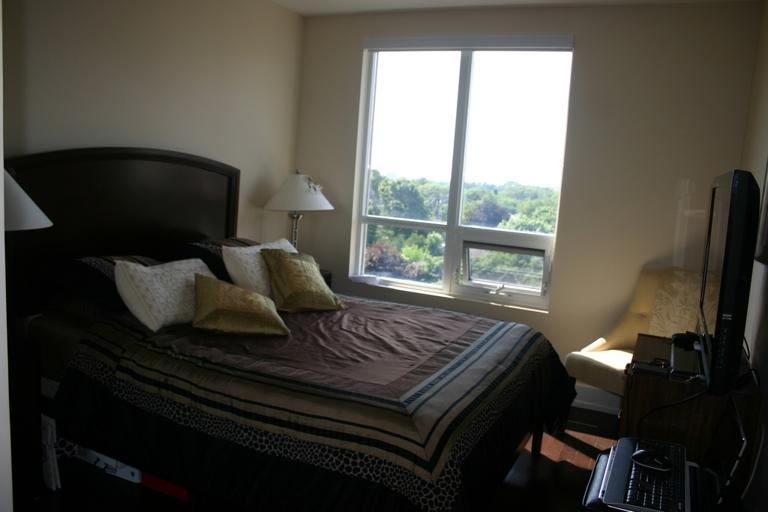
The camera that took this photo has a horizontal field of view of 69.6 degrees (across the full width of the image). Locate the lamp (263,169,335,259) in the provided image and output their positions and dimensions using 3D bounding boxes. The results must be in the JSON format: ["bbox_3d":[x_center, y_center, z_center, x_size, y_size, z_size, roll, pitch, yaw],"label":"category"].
[{"bbox_3d":[-0.763,-0.438,5.475,0.698,1.076,0.724,0,9,-4],"label":"lamp"}]

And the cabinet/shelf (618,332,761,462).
[{"bbox_3d":[1.683,0.826,3.114,0.474,0.671,0.917,3,7,22],"label":"cabinet/shelf"}]

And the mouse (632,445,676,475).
[{"bbox_3d":[1.233,0.928,2.523,0.131,0.045,0.098,3,6,40],"label":"mouse"}]

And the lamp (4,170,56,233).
[{"bbox_3d":[-2.124,-0.309,3.152,0.272,0.311,0.210,6,14,10],"label":"lamp"}]
